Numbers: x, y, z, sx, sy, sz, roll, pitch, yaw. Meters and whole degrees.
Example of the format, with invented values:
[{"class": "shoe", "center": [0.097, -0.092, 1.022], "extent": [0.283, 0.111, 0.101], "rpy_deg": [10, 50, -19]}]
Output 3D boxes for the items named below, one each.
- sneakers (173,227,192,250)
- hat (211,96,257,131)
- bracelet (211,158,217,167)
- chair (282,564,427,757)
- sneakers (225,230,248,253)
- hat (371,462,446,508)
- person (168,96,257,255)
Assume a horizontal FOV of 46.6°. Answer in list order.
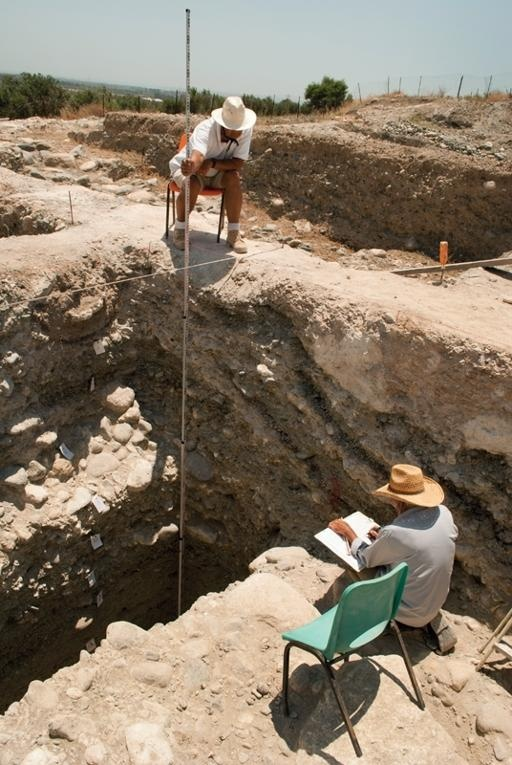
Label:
[{"class": "sneakers", "center": [-0.606, -1.181, 4.879], "extent": [0.094, 0.118, 0.275], "rpy_deg": [-11, 48, -16]}, {"class": "hat", "center": [-0.173, -2.021, 4.499], "extent": [0.291, 0.331, 0.137], "rpy_deg": [-9, -16, -16]}, {"class": "bracelet", "center": [-0.334, -1.709, 4.610], "extent": [0.039, 0.052, 0.049], "rpy_deg": [-3, -11, 21]}, {"class": "chair", "center": [0.432, 1.010, 2.390], "extent": [0.462, 0.756, 0.519], "rpy_deg": [22, 26, 39]}, {"class": "sneakers", "center": [-0.175, -1.182, 5.020], "extent": [0.105, 0.143, 0.279], "rpy_deg": [-23, 50, -15]}, {"class": "hat", "center": [0.729, 0.498, 2.843], "extent": [0.214, 0.113, 0.266], "rpy_deg": [-10, 11, -32]}, {"class": "person", "center": [-0.375, -1.620, 4.661], "extent": [0.594, 1.175, 1.028], "rpy_deg": [9, 20, 10]}]
